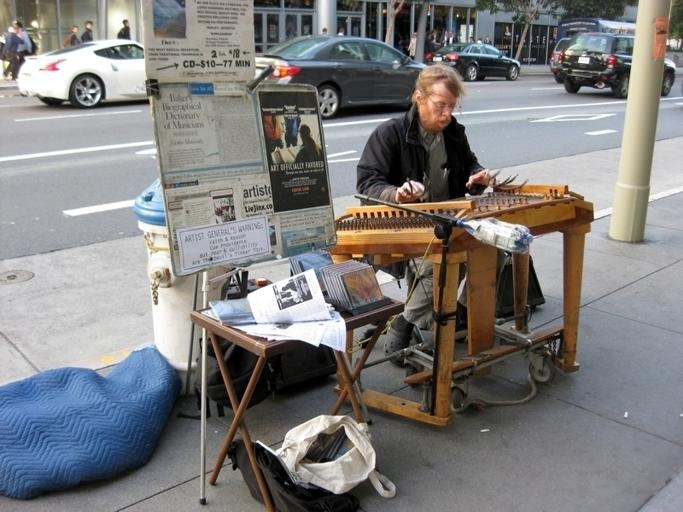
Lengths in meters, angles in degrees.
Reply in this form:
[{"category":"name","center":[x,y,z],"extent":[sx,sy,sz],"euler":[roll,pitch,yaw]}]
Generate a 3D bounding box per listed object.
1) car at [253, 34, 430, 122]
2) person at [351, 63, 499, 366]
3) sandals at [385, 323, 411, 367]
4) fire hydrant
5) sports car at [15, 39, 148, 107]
[{"category":"car","center":[0.277,-4.152,13.760],"extent":[5.833,1.944,2.581],"euler":[-11,19,-31]},{"category":"person","center":[0.607,-0.201,4.376],"extent":[1.005,2.150,0.942],"euler":[6,18,-8]},{"category":"sandals","center":[0.416,0.623,4.420],"extent":[0.128,0.357,0.149],"euler":[16,5,-7]},{"category":"fire hydrant","center":[-1.057,0.236,3.846],"extent":[0.641,1.407,0.696],"euler":[-2,25,-38]},{"category":"sports car","center":[-5.898,-4.202,14.077],"extent":[2.647,1.465,0.940],"euler":[-9,22,-18]}]
